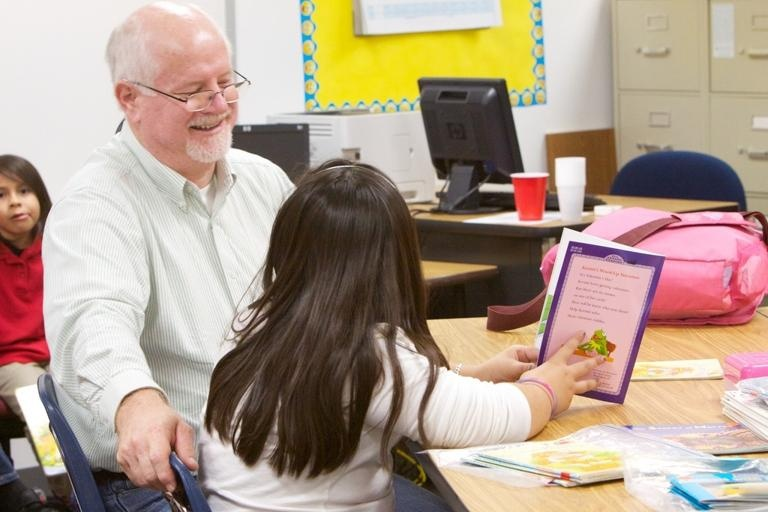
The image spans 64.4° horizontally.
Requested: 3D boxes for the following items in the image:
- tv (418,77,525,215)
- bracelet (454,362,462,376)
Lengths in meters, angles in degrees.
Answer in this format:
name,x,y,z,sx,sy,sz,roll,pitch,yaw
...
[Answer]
name,x,y,z,sx,sy,sz,roll,pitch,yaw
tv,0.400,-0.510,2.889,0.614,0.731,0.400,9,22,40
bracelet,0.160,0.240,1.290,0.022,0.008,0.017,-39,9,27
